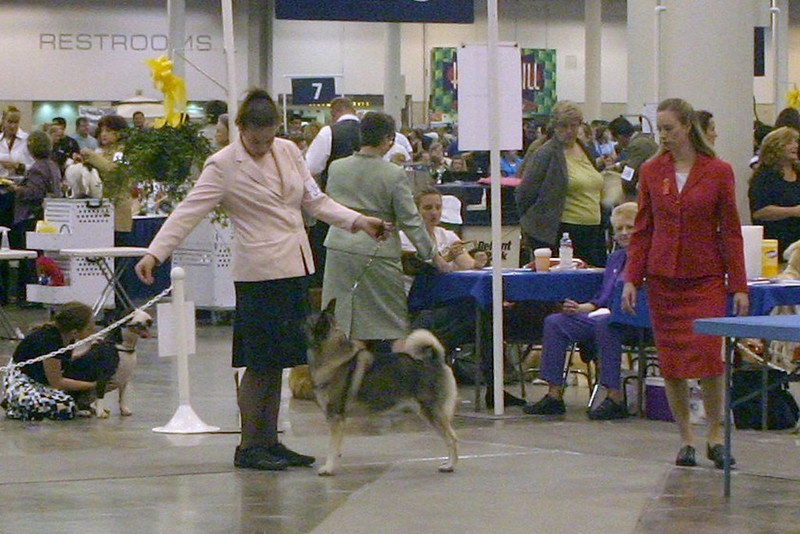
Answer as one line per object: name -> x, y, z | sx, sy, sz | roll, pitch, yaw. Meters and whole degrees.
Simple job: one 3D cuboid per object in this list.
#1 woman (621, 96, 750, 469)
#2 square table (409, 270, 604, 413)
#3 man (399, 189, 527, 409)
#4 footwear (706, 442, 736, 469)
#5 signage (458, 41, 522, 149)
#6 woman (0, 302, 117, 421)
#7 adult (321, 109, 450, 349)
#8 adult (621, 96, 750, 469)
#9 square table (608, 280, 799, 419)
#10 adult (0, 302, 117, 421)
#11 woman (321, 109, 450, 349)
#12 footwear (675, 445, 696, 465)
woman -> 1.843, 0.092, 6.235 | 0.725, 2.282, 0.505 | -1, -3, 18
square table -> 0.871, 0.579, 7.654 | 1.004, 0.631, 1.031 | -2, -4, 43
man -> 0.534, 0.165, 7.921 | 0.562, 1.787, 1.157 | -18, 13, -24
footwear -> 2.058, 1.212, 6.108 | 0.114, 0.126, 0.289 | -13, 9, -9
signage -> 0.726, -1.363, 7.600 | 0.509, 0.897, 0.091 | 1, 27, 9
woman -> -2.769, 0.670, 7.940 | 0.943, 1.113, 0.784 | 4, 17, -25
adult -> -0.136, -0.152, 7.364 | 1.004, 2.086, 0.618 | 13, 25, 28
adult -> 1.852, 0.074, 6.221 | 0.717, 2.309, 0.513 | -1, -2, 23
square table -> 2.107, 0.416, 6.896 | 1.140, 0.915, 1.081 | -2, -3, 40
adult -> -2.766, 0.665, 7.932 | 0.943, 1.113, 0.784 | 4, 17, -25
woman -> -0.143, -0.151, 7.368 | 0.930, 2.102, 0.610 | 14, 27, 30
footwear -> 1.845, 1.232, 6.217 | 0.140, 0.151, 0.090 | -2, -1, 2
